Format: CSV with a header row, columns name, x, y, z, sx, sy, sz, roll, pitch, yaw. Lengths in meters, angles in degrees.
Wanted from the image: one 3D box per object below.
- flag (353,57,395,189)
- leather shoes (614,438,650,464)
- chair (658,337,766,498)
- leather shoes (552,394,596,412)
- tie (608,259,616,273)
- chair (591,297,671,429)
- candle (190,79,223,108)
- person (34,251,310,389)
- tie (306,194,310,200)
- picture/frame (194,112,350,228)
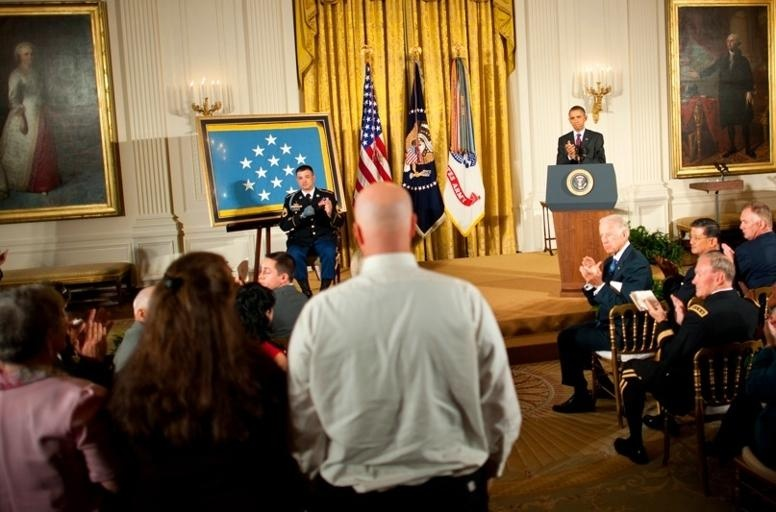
name,x,y,z,sx,sy,sz,roll,pitch,yaw
flag,-0.250,-1.795,7.849,0.434,1.760,0.456,-5,4,-24
leather shoes,1.653,1.331,3.870,0.112,0.098,0.228,-9,25,-23
chair,2.060,1.018,3.715,0.487,0.838,0.551,-2,-7,7
leather shoes,1.470,1.185,4.517,0.335,0.157,0.134,0,0,-5
tie,1.839,0.086,4.664,0.022,0.089,0.080,14,-9,-35
chair,1.853,0.827,4.431,0.432,0.889,0.520,-2,-2,11
candle,-2.427,-2.149,7.564,0.364,0.443,0.067,-1,8,-1
person,-1.443,0.273,3.491,0.816,0.463,1.157,12,40,9
tie,-0.919,-0.668,6.556,0.046,0.071,0.015,1,1,2
picture/frame,-1.399,-1.016,6.696,1.313,1.177,0.101,-7,-2,-26
